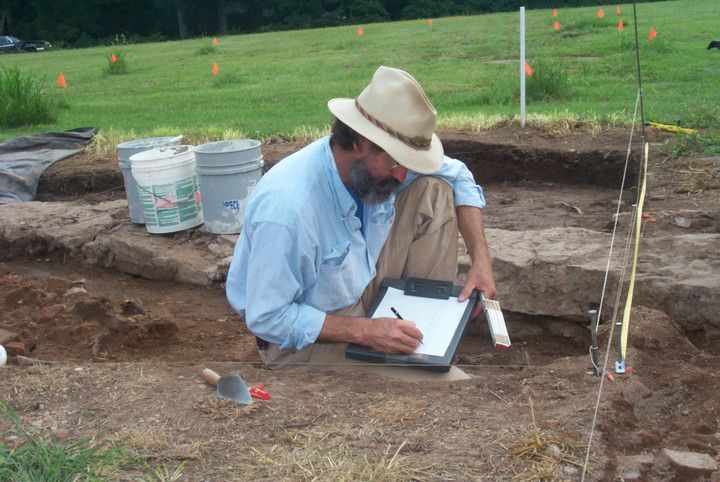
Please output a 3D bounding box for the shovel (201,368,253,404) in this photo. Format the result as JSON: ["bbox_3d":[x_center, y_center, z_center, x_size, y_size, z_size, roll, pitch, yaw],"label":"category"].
[{"bbox_3d":[-1.130,1.207,7.573,0.531,0.240,0.183,4,15,24],"label":"shovel"}]

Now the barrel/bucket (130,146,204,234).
[{"bbox_3d":[-2.213,-0.650,10.075,0.841,0.941,0.755,-13,19,-37],"label":"barrel/bucket"}]

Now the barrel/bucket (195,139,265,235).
[{"bbox_3d":[-1.437,-0.632,10.034,1.028,1.072,0.581,2,-3,-3],"label":"barrel/bucket"}]

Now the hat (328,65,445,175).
[{"bbox_3d":[0.202,-1.021,7.827,0.728,1.042,1.191,3,-1,-29],"label":"hat"}]

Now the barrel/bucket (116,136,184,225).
[{"bbox_3d":[-2.391,-0.755,10.358,0.846,0.955,0.787,-1,15,0],"label":"barrel/bucket"}]
